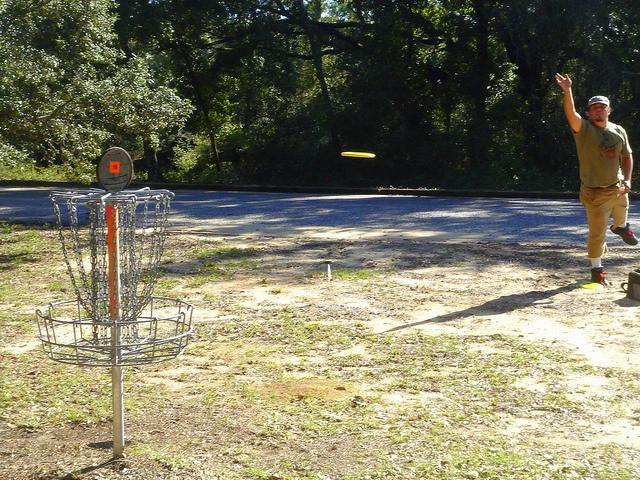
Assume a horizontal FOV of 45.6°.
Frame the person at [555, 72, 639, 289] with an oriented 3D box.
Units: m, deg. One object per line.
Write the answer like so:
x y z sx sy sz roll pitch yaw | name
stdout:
3.569 -0.779 9.753 0.891 2.692 0.911 -2 7 17 | person
